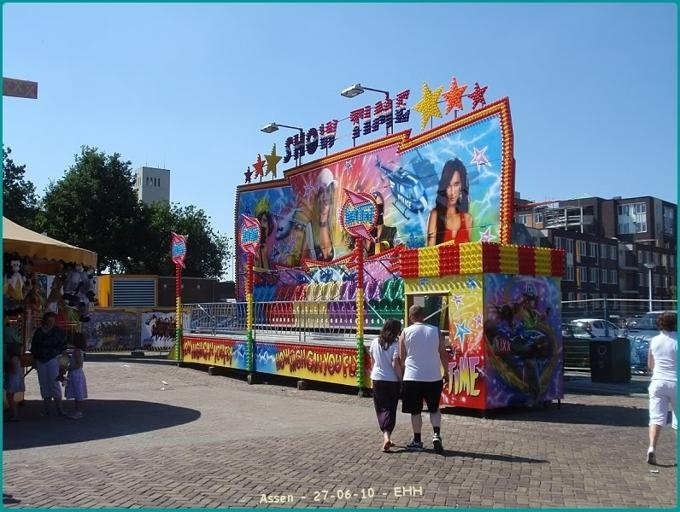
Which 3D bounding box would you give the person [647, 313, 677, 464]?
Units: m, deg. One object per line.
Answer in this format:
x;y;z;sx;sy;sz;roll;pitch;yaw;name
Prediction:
4.945;2.015;9.978;0.451;2.311;0.649;-4;-7;34;person

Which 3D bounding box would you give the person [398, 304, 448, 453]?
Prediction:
1.365;1.977;10.639;0.776;2.357;0.363;0;-6;4;person

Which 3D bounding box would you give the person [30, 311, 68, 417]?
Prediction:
-6.289;2.315;14.072;0.714;2.227;0.448;-2;-6;22;person

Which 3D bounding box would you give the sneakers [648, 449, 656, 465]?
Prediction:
4.671;3.012;9.701;0.076;0.114;0.291;-3;-44;8;sneakers

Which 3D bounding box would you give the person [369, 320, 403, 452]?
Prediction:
0.780;2.135;10.861;0.486;2.165;0.534;0;-6;3;person

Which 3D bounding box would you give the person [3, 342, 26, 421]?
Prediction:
-6.892;2.599;13.755;0.388;1.581;1.007;3;-7;-27;person
